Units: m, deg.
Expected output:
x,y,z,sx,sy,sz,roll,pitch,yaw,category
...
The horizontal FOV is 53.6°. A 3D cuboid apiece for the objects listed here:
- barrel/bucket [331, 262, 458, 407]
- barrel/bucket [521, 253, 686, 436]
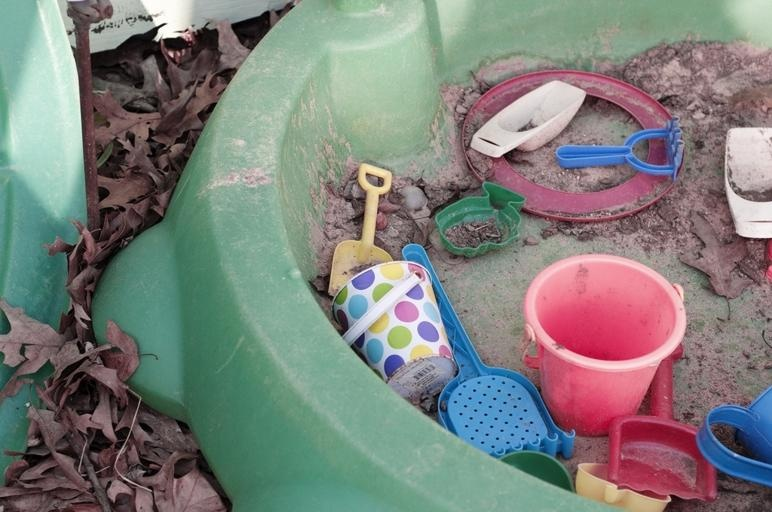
x,y,z,sx,sy,sz,roll,pitch,yaw,category
0.041,0.189,2.189,0.301,0.367,0.362,44,105,29,barrel/bucket
0.550,0.227,2.084,0.397,0.313,0.478,26,82,10,barrel/bucket
